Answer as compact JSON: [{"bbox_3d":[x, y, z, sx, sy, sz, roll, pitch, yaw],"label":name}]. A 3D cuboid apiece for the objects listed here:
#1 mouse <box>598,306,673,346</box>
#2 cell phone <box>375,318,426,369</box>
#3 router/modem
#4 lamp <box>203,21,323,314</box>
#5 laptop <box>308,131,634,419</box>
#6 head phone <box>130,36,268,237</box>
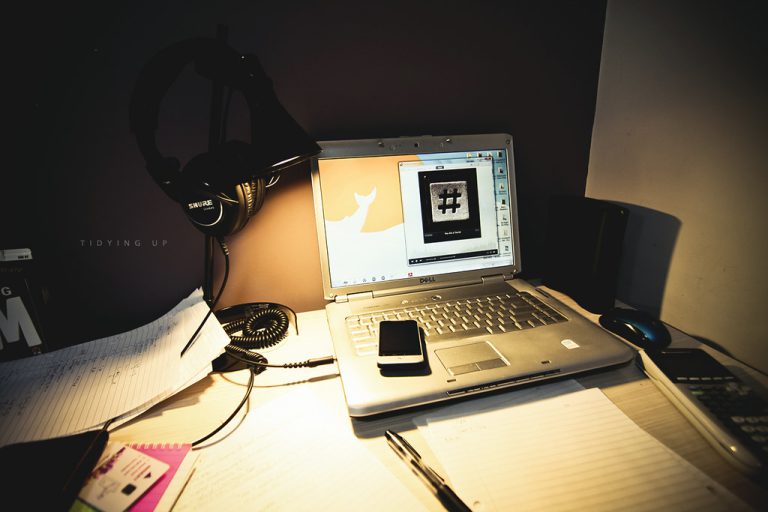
[{"bbox_3d":[0.617,0.165,1.239,0.100,0.052,0.158,-22,33,-31],"label":"mouse"},{"bbox_3d":[0.036,0.199,1.117,0.144,0.021,0.196,-1,28,0],"label":"cell phone"},{"bbox_3d":[0.537,0.001,1.313,0.113,0.310,0.240,-12,23,-26],"label":"router/modem"},{"bbox_3d":[-0.275,-0.146,1.120,0.269,0.648,0.155,4,9,9],"label":"lamp"},{"bbox_3d":[0.160,-0.018,1.154,0.658,0.411,0.594,0,22,1],"label":"laptop"},{"bbox_3d":[-0.372,-0.253,1.161,0.287,0.430,0.310,-3,19,-12],"label":"head phone"}]
